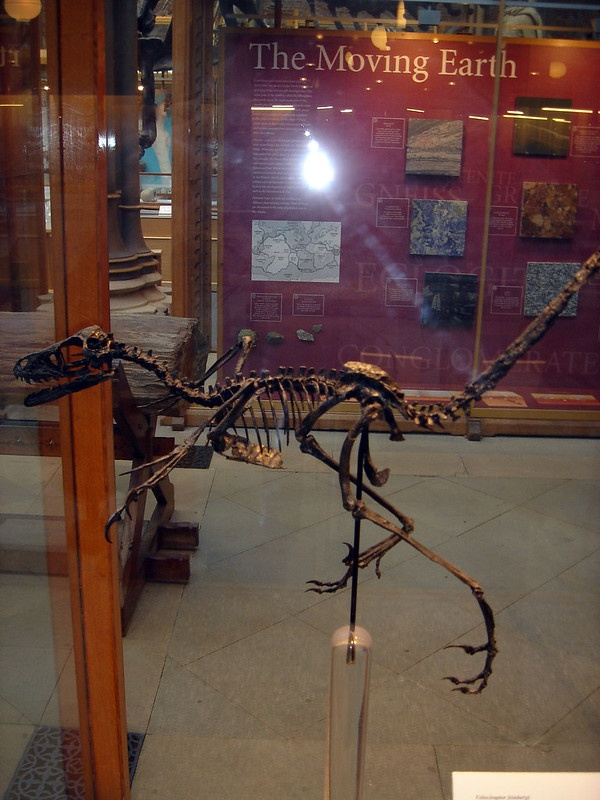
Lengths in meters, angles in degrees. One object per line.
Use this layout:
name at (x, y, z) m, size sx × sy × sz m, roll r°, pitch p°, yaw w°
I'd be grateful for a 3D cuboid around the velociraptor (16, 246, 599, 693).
velociraptor at (0.012, 0.262, 1.832) m, size 1.144 × 1.210 × 0.803 m, roll -1°, pitch 14°, yaw 3°

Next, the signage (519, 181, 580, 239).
signage at (0.668, -0.506, 1.966) m, size 0.142 × 0.154 × 0.062 m, roll 2°, pitch 14°, yaw 14°

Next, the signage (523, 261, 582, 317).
signage at (0.715, -0.306, 2.042) m, size 0.174 × 0.158 × 0.013 m, roll -3°, pitch 11°, yaw -19°
